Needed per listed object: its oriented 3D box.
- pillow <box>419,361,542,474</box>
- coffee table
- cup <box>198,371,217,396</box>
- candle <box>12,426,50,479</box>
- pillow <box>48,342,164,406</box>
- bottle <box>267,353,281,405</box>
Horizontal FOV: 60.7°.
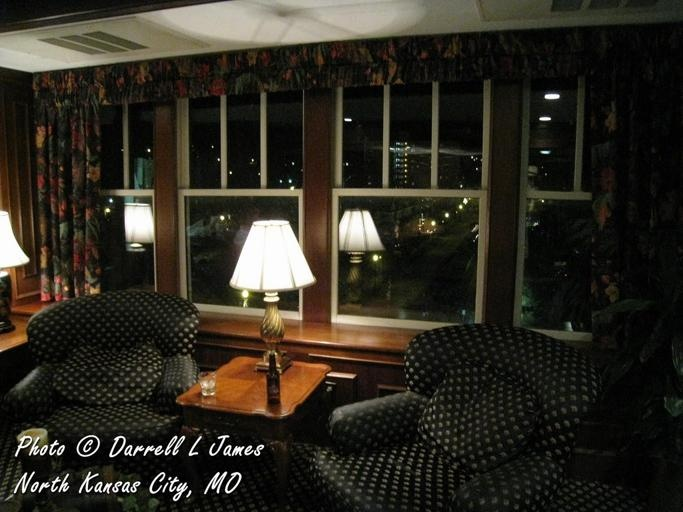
[{"bbox_3d":[0.763,0.907,3.285,0.649,0.475,0.406,2,9,19],"label":"pillow"},{"bbox_3d":[-0.538,0.972,3.678,0.745,0.609,0.799,4,16,14],"label":"coffee table"},{"bbox_3d":[-0.805,0.778,3.577,0.115,0.137,0.122,-1,10,0],"label":"cup"},{"bbox_3d":[-1.401,0.900,2.658,0.151,0.207,0.122,-3,9,-13],"label":"candle"},{"bbox_3d":[-1.549,0.792,3.823,0.426,0.136,0.427,0,28,-10],"label":"pillow"},{"bbox_3d":[-0.405,0.710,3.495,0.081,0.309,0.207,-2,9,-7],"label":"bottle"}]
